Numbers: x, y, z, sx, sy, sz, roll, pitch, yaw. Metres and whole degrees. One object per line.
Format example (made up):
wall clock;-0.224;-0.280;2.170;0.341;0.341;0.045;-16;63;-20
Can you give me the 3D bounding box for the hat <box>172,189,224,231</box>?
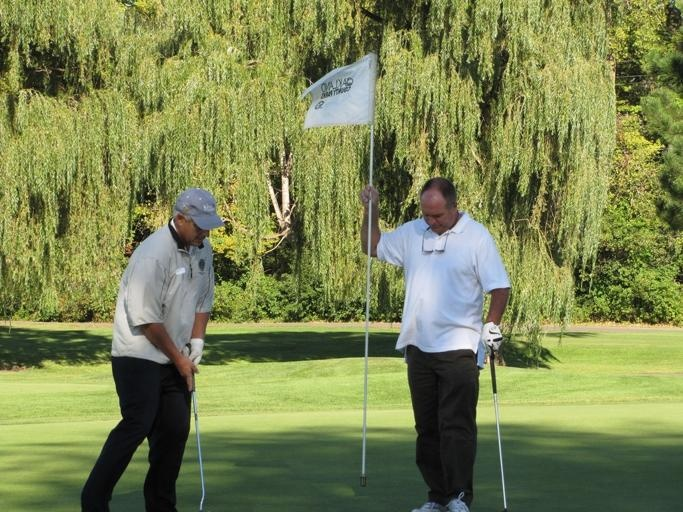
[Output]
hat;-1.463;-0.474;11.453;0.493;0.315;0.357;34;33;10
